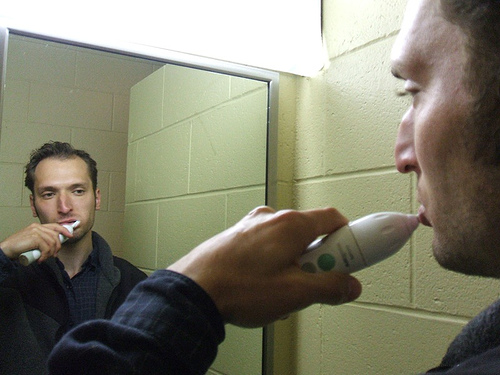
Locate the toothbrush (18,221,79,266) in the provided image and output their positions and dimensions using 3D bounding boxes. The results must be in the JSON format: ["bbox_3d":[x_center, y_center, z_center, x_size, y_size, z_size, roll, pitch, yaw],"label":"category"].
[{"bbox_3d":[-0.400,0.124,0.875,0.165,0.040,0.037,-36,17,-32],"label":"toothbrush"}]

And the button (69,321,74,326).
[{"bbox_3d":[-0.377,0.285,0.863,0.007,0.002,0.007,-6,19,-31],"label":"button"}]

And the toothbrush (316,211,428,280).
[{"bbox_3d":[0.217,0.099,0.713,0.221,0.060,0.060,-25,26,-3],"label":"toothbrush"}]
